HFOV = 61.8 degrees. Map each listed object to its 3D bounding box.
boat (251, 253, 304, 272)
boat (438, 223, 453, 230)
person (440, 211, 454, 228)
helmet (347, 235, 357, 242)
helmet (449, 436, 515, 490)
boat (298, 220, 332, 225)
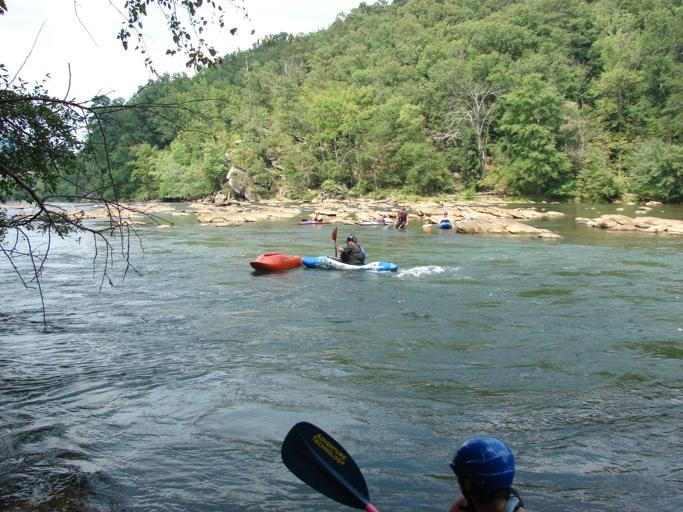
[{"bbox_3d":[-2.282,0.199,20.361,0.713,0.621,1.809,3,4,41],"label":"boat"},{"bbox_3d":[6.140,-1.814,33.821,0.667,0.214,0.531,0,-1,1],"label":"boat"},{"bbox_3d":[6.269,-2.052,34.321,0.775,0.452,1.471,-3,8,10],"label":"person"},{"bbox_3d":[0.385,-0.650,20.656,0.373,0.124,0.373,1,3,6],"label":"helmet"},{"bbox_3d":[1.499,2.070,5.750,0.753,0.365,0.502,-10,-7,27],"label":"helmet"},{"bbox_3d":[-1.710,-2.239,37.666,2.361,0.367,1.445,-1,3,-13],"label":"boat"}]
